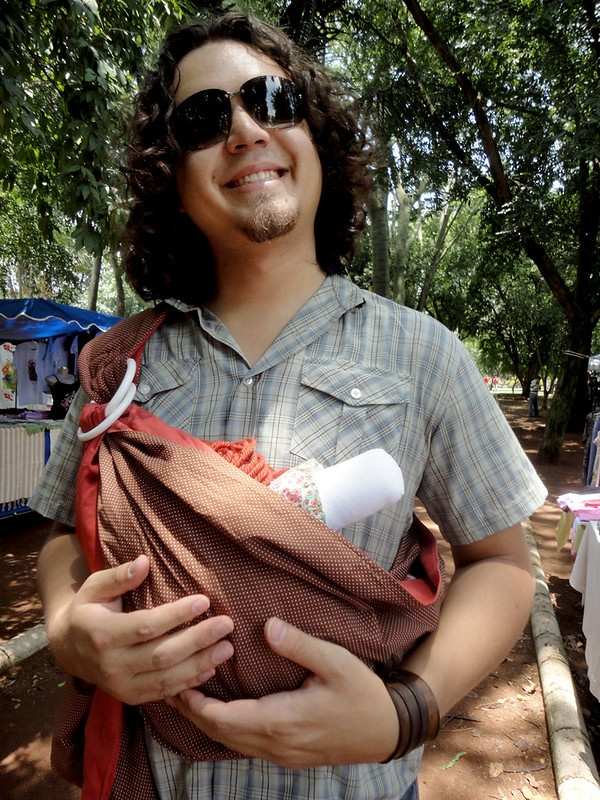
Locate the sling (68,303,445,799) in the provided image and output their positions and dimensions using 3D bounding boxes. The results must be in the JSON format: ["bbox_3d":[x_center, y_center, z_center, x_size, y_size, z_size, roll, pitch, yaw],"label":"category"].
[{"bbox_3d":[-0.110,0.279,1.334,0.726,0.862,0.447,-21,-18,2],"label":"sling"}]
